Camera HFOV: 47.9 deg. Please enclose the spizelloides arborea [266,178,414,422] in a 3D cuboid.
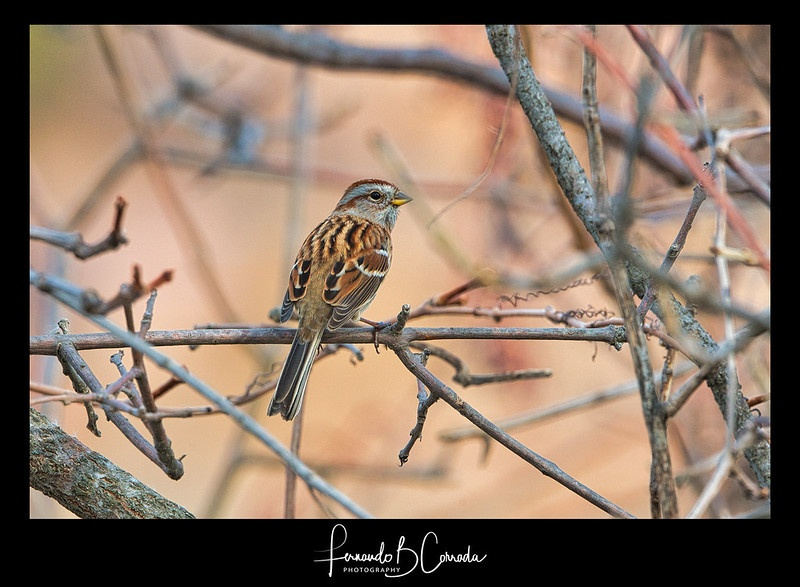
[{"bbox_3d":[-0.277,-0.020,4.972,0.769,1.715,0.427,19,-44,-25],"label":"spizelloides arborea"}]
